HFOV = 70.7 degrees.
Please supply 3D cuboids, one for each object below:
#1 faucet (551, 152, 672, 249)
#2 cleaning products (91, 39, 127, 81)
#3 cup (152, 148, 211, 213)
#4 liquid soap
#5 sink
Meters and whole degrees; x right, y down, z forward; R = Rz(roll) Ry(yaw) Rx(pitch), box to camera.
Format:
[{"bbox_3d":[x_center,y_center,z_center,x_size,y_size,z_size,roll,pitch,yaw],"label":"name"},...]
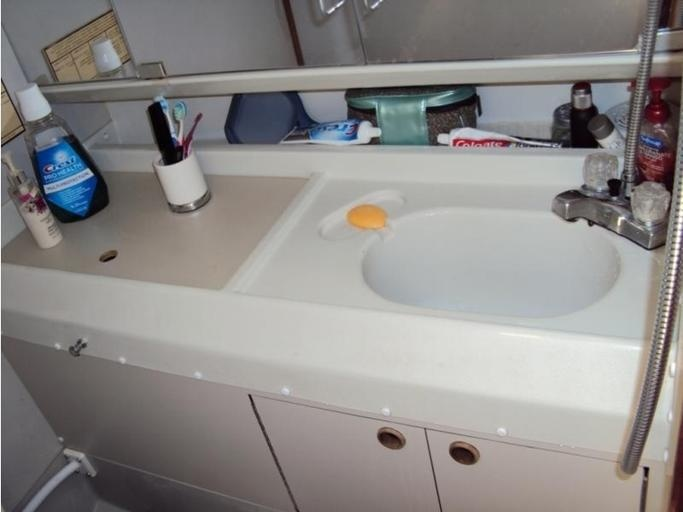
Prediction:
[{"bbox_3d":[0.508,-0.103,0.906,0.058,0.118,0.207,-29,38,-31],"label":"faucet"},{"bbox_3d":[-0.611,-0.528,1.297,0.072,0.088,0.090,5,41,-9],"label":"cleaning products"},{"bbox_3d":[-0.393,-0.181,1.231,0.099,0.146,0.136,27,40,32],"label":"cup"},{"bbox_3d":[0.616,-0.232,0.910,0.096,0.204,0.077,-15,32,-12],"label":"liquid soap"},{"bbox_3d":[0.325,0.014,1.056,0.389,0.111,0.251,9,46,26],"label":"sink"}]
